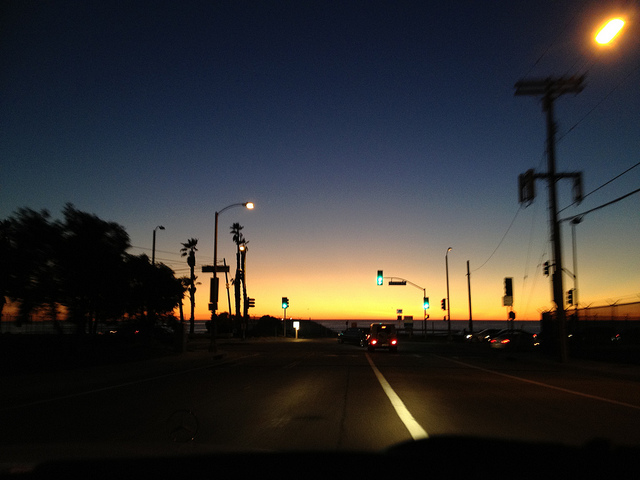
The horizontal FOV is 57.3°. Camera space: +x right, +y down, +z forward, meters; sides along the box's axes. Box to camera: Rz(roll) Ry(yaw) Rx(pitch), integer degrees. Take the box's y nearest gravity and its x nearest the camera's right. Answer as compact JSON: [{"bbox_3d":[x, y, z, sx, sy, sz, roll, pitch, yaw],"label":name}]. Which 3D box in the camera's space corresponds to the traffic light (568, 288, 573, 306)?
[{"bbox_3d":[13.807,3.175,32.300,0.171,0.689,0.622,-7,-12,36],"label":"traffic light"}]

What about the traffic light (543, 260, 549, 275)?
[{"bbox_3d":[12.778,1.672,33.103,0.208,0.606,0.862,-3,-11,17],"label":"traffic light"}]

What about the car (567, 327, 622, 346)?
[{"bbox_3d":[17.120,6.036,36.828,4.020,1.066,1.447,5,-12,-28],"label":"car"}]

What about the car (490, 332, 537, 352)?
[{"bbox_3d":[14.385,7.586,43.437,2.827,1.403,5.286,-5,-12,24],"label":"car"}]

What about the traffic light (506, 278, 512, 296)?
[{"bbox_3d":[14.952,3.727,46.512,0.458,1.390,0.367,-2,-9,12],"label":"traffic light"}]

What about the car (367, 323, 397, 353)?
[{"bbox_3d":[4.062,6.403,38.480,1.743,1.957,2.035,-3,-10,14],"label":"car"}]

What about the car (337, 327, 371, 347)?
[{"bbox_3d":[3.205,9.097,55.159,2.204,1.639,4.845,2,-11,-11],"label":"car"}]
